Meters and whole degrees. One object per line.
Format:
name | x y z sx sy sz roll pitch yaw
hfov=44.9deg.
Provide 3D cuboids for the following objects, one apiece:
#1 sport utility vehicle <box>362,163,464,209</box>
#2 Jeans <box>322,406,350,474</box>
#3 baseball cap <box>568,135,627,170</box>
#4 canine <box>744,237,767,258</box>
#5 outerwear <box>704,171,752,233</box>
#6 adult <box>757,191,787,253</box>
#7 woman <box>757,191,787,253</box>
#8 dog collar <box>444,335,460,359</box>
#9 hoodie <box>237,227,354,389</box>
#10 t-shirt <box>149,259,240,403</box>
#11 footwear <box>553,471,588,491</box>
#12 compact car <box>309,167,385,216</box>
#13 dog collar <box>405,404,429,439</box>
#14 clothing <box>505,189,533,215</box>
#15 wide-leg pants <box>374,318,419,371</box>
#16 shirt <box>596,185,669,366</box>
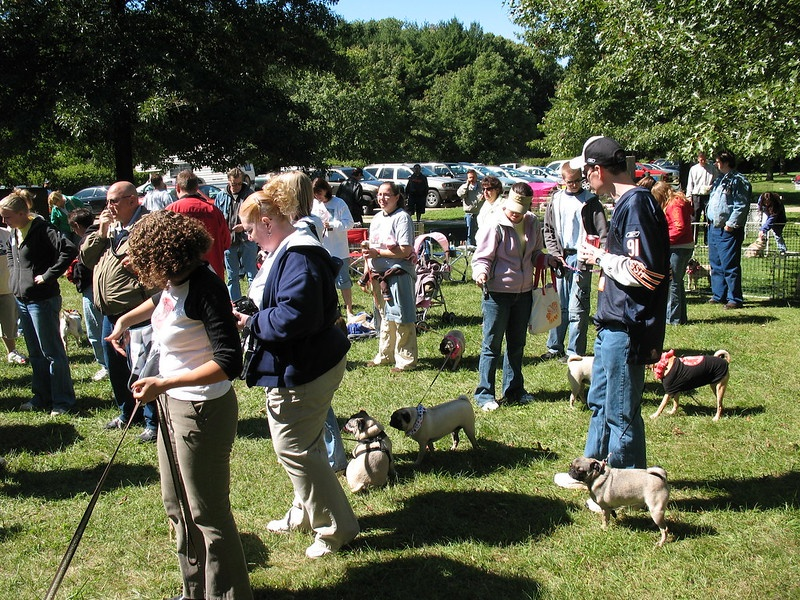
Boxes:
sport utility vehicle | 0.723 -3.653 33.721 4.156 1.910 2.012 -2 11 4
Jeans | -0.699 1.529 10.262 0.197 0.785 0.398 -1 -2 -29
baseball cap | 1.975 -1.459 9.752 0.476 0.281 0.343 13 24 30
canine | 6.340 -0.974 17.222 0.444 0.353 0.246 3 37 -18
outerwear | 5.198 -1.611 15.436 0.716 0.926 0.411 3 8 38
adult | 6.842 -1.452 17.883 0.504 1.086 2.180 0 8 21
woman | 6.842 -1.452 17.883 0.504 1.086 2.180 0 8 21
dog collar | 0.683 0.609 12.619 0.179 0.255 0.221 6 8 15
hoodie | -1.084 0.162 9.621 1.102 1.618 1.649 4 8 -2
t-shirt | -1.847 0.302 8.591 0.492 1.001 1.204 1 3 -35
footwear | 1.755 1.927 10.234 0.256 0.084 0.200 2 3 41
compact car | -1.632 -3.583 31.672 2.440 1.363 1.231 4 13 25
dog collar | 0.196 1.312 10.483 0.122 0.322 0.245 17 9 39
clothing | 1.363 -1.146 11.358 0.229 0.179 0.313 25 1 13
wide-leg pants | -0.050 0.608 13.043 0.579 0.860 0.296 5 1 28
shirt | 2.267 -0.227 9.552 0.711 1.763 0.353 0 7 15
